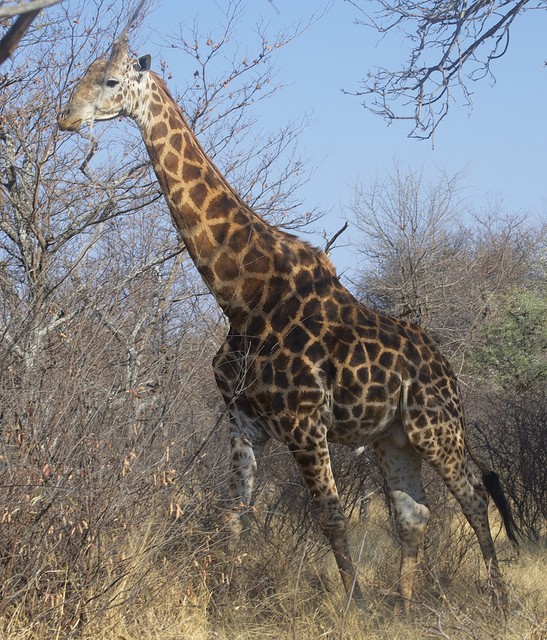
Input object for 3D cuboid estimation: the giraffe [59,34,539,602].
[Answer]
[{"bbox_3d":[0.121,-0.010,6.317,1.058,3.800,2.761,-28,-27,30],"label":"giraffe"}]
